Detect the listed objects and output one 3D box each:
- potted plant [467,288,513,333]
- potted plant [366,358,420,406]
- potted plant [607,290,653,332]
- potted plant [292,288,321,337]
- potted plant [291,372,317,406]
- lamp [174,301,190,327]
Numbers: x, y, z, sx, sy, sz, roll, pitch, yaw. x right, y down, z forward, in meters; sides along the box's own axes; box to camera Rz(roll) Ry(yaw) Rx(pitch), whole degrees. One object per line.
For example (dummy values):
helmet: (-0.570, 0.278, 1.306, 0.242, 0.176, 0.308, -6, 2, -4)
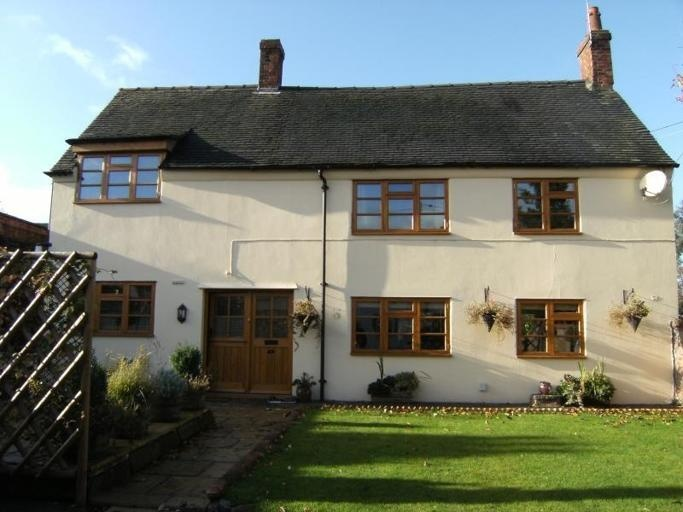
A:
potted plant: (3.851, 1.414, 19.757, 1.033, 1.176, 0.873, 4, -12, -11)
potted plant: (1.327, 3.331, 19.314, 0.804, 0.778, 1.052, -2, -6, 20)
potted plant: (7.320, 1.383, 19.206, 0.833, 1.115, 0.526, 7, 5, 30)
potted plant: (-1.026, 1.445, 19.651, 0.927, 1.534, 0.924, 3, -13, 0)
potted plant: (-0.870, 3.416, 19.775, 0.703, 0.791, 0.644, 1, -14, 7)
lamp: (-4.202, 1.519, 20.020, 0.440, 0.806, 0.398, 0, 0, 12)
